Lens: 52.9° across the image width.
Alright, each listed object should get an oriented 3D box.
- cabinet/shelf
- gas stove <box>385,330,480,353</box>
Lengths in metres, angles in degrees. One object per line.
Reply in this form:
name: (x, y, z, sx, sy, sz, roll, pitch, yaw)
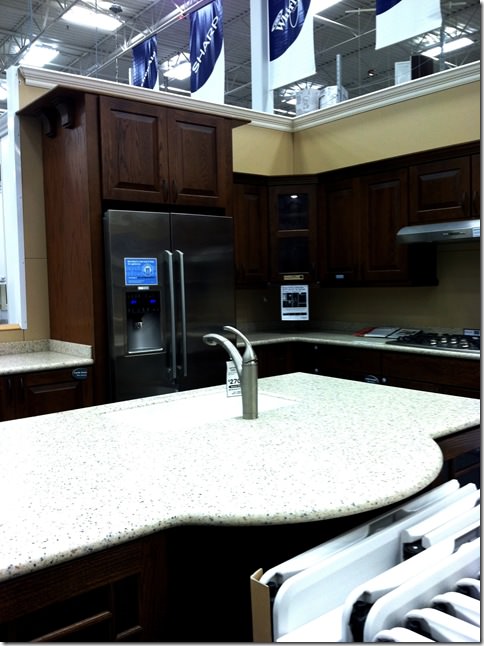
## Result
cabinet/shelf: (-0.007, -0.486, 3.224, 2.245, 2.329, 1.790, -4, 6, -37)
gas stove: (1.318, 0.108, 3.358, 0.608, 0.083, 0.859, 0, 3, 21)
